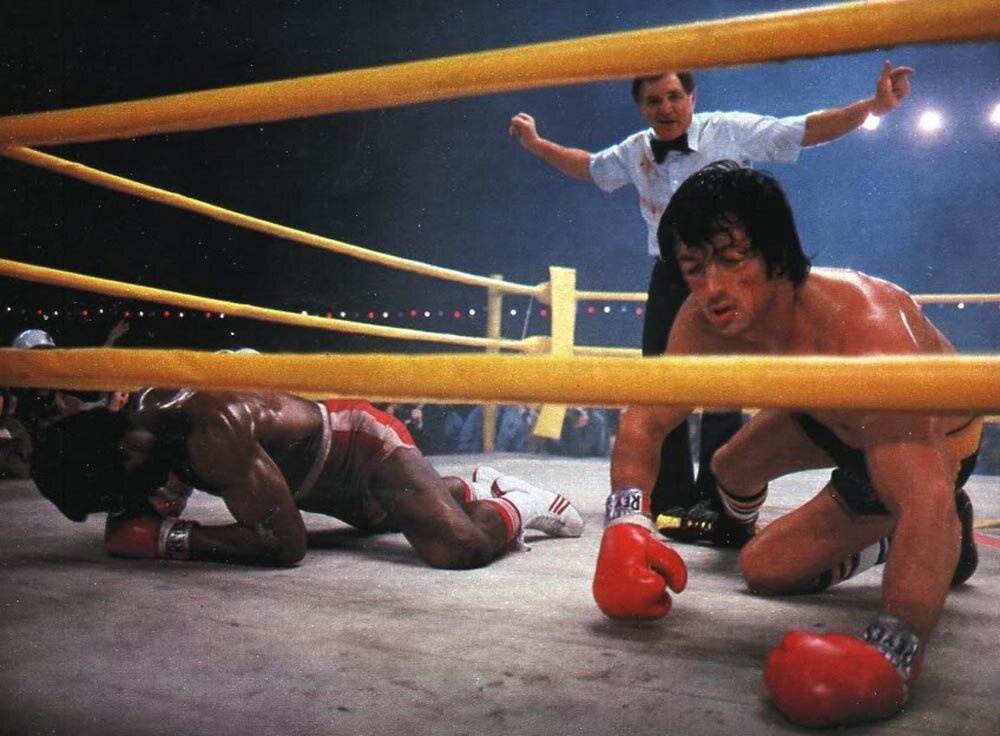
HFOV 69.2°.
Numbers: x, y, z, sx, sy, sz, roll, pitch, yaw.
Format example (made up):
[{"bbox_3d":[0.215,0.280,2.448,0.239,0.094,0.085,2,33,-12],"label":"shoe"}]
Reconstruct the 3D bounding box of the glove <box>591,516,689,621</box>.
[{"bbox_3d":[0.251,0.363,1.343,0.171,0.083,0.217,-11,33,-5],"label":"glove"}]

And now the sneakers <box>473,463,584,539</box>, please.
[{"bbox_3d":[0.088,0.410,2.176,0.247,0.097,0.245,21,4,2],"label":"sneakers"}]

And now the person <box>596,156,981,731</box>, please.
[{"bbox_3d":[0.476,0.064,1.623,1.056,0.995,0.735,-5,4,-43],"label":"person"}]

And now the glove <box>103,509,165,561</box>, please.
[{"bbox_3d":[-0.915,0.421,1.812,0.109,0.116,0.125,-14,-14,34],"label":"glove"}]

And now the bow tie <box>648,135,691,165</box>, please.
[{"bbox_3d":[0.577,-0.735,2.441,0.123,0.085,0.032,5,25,27],"label":"bow tie"}]

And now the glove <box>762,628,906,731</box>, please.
[{"bbox_3d":[0.474,0.449,1.036,0.142,0.083,0.141,-4,-2,17],"label":"glove"}]

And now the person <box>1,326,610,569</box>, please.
[{"bbox_3d":[-0.412,0.210,1.989,1.468,0.454,0.565,1,-10,-18],"label":"person"}]
